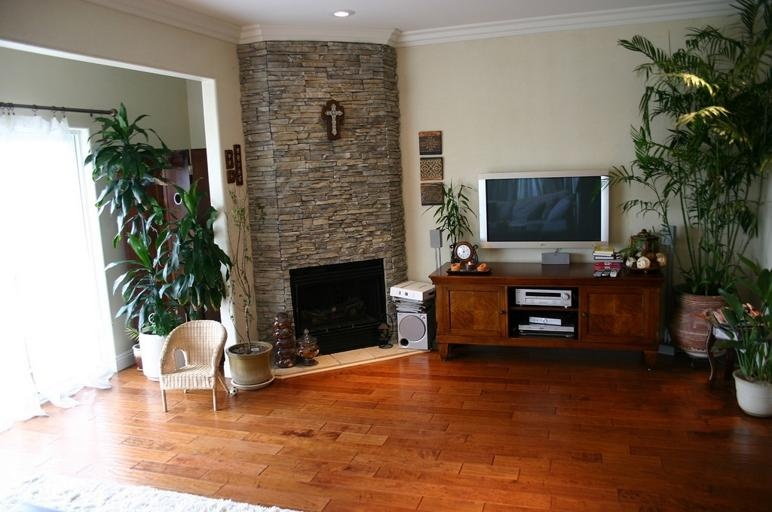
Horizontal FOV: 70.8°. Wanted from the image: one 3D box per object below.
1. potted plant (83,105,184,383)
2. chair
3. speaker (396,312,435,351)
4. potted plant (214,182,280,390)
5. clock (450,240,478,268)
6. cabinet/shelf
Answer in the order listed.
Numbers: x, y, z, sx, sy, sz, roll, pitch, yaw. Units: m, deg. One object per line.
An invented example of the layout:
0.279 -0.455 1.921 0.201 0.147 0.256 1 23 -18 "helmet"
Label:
-2.568 -0.175 5.681 0.798 2.877 1.128 -8 8 -26 "potted plant"
-1.819 1.007 5.191 0.681 0.701 0.670 -3 5 -27 "chair"
0.336 0.831 6.250 0.431 0.416 0.443 1 5 25 "speaker"
-1.503 0.313 5.632 0.524 2.022 0.751 -6 8 -12 "potted plant"
0.842 -0.027 5.847 0.246 0.288 0.101 6 8 16 "clock"
1.744 0.619 5.790 2.264 0.870 0.674 -1 2 28 "cabinet/shelf"
